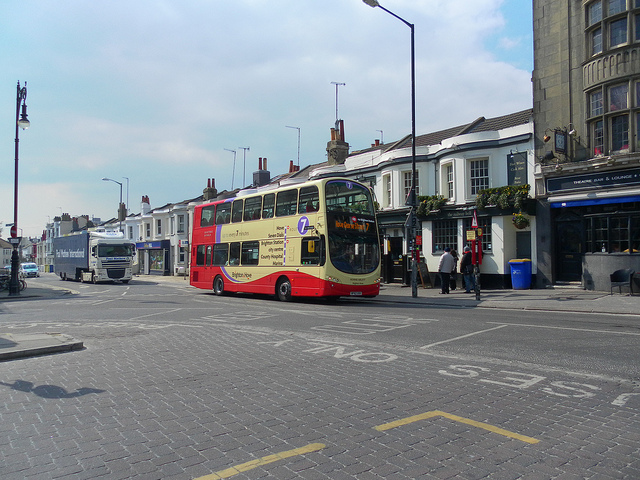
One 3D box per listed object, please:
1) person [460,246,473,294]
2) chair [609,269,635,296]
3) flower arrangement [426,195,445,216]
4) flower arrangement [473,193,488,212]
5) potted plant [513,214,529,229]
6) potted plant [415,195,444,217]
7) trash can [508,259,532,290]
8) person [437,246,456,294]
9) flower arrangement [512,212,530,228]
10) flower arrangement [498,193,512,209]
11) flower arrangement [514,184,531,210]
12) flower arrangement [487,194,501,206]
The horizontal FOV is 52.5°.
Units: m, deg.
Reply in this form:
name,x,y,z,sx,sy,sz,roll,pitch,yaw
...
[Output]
name,x,y,z,sx,sy,sz,roll,pitch,yaw
person,5.778,1.220,25.680,0.485,1.861,0.992,-1,6,12
chair,10.248,1.410,22.127,0.722,1.044,0.775,-3,-9,42
flower arrangement,5.223,-1.584,29.597,0.317,0.871,0.954,-6,7,-37
flower arrangement,6.684,-1.606,27.393,0.560,0.617,0.570,-4,11,-23
potted plant,7.955,-0.740,25.729,0.468,0.384,0.494,2,-6,-20
potted plant,5.037,-1.536,29.826,0.324,0.995,1.530,-6,7,-34
trash can,8.143,1.391,26.225,0.865,1.258,0.791,-1,-2,-36
person,5.081,1.283,26.053,0.607,1.738,1.435,-1,6,11
flower arrangement,8.008,-0.776,25.819,0.518,0.388,0.519,-3,2,-18
flower arrangement,7.491,-1.579,26.346,0.342,0.644,0.614,-3,6,-10
flower arrangement,7.993,-1.701,25.913,0.410,0.964,0.668,3,8,41
flower arrangement,7.182,-1.659,26.876,0.370,0.231,0.384,19,-4,10
